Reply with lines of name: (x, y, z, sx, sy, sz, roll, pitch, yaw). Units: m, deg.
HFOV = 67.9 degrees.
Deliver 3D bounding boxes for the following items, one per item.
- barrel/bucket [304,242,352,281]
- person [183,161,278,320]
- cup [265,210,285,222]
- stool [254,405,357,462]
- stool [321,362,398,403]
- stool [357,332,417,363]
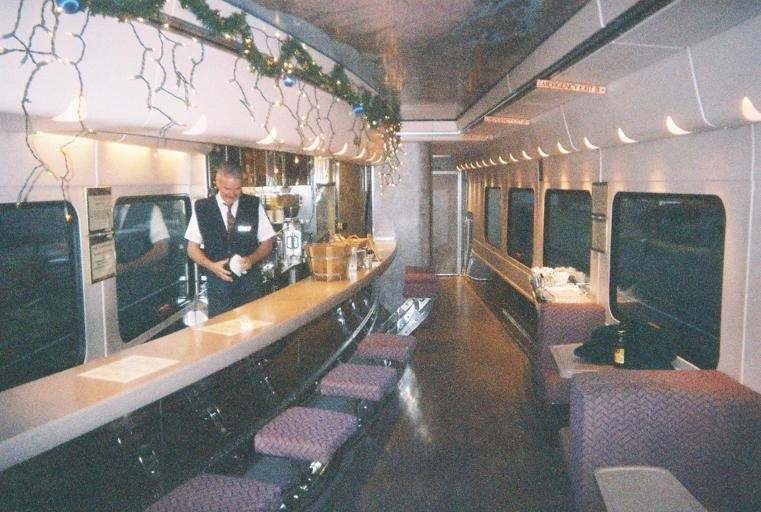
barrel/bucket: (-0.495, 0.031, 5.265, 0.348, 0.268, 0.362, -1, 6, 0)
person: (-1.326, 0.104, 4.920, 0.637, 1.731, 0.713, 18, 26, 23)
cup: (-1.112, -0.424, 6.003, 0.141, 0.138, 0.133, 2, 11, 0)
stool: (-0.438, 1.072, 3.470, 0.510, 0.192, 0.468, 3, 11, 13)
stool: (-0.158, 0.904, 4.008, 0.461, 0.185, 0.379, 4, 11, 17)
stool: (0.057, 0.772, 4.689, 0.409, 0.172, 0.395, 3, 11, 13)
